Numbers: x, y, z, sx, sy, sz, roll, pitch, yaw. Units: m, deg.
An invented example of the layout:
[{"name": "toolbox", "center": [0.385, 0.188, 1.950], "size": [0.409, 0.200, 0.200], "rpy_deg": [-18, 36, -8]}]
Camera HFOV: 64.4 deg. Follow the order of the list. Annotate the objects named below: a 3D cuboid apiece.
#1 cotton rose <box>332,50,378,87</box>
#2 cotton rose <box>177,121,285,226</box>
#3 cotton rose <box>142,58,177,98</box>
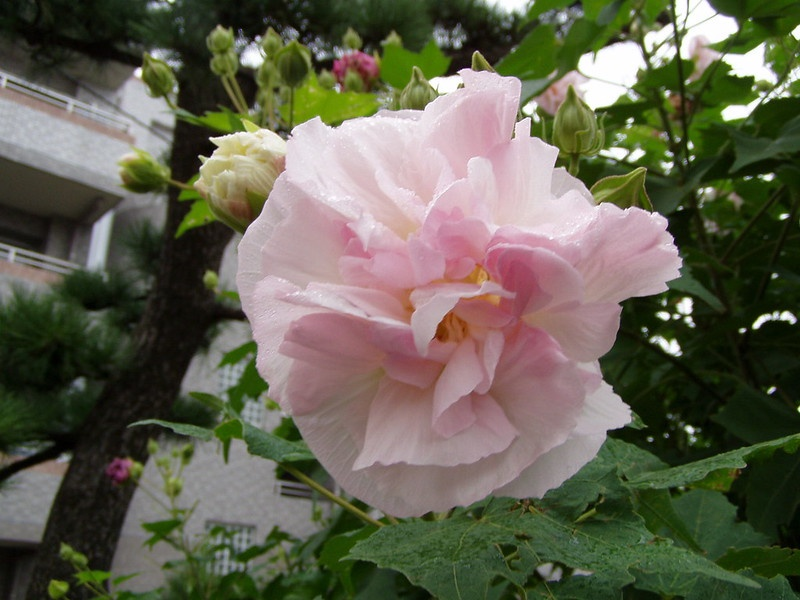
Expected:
[{"name": "cotton rose", "center": [-0.150, -0.762, 2.178], "size": [0.139, 0.103, 0.161], "rpy_deg": [13, 17, 16]}, {"name": "cotton rose", "center": [-0.216, -0.162, 0.914], "size": [0.129, 0.149, 0.124], "rpy_deg": [10, -29, -6]}, {"name": "cotton rose", "center": [-0.613, -0.563, 1.604], "size": [0.081, 0.090, 0.066], "rpy_deg": [16, 14, -28]}]
